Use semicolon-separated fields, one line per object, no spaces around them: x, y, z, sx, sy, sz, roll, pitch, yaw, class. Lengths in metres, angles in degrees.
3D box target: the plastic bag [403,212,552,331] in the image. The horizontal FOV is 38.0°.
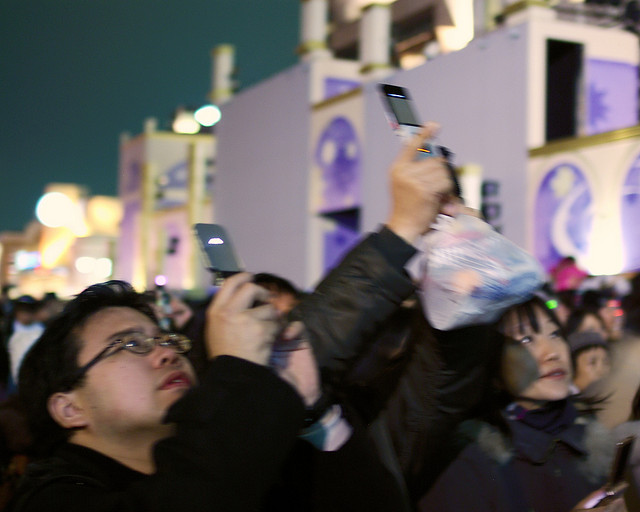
0.517;0.057;3.143;0.298;0.394;0.355;-3;3;-12;plastic bag
